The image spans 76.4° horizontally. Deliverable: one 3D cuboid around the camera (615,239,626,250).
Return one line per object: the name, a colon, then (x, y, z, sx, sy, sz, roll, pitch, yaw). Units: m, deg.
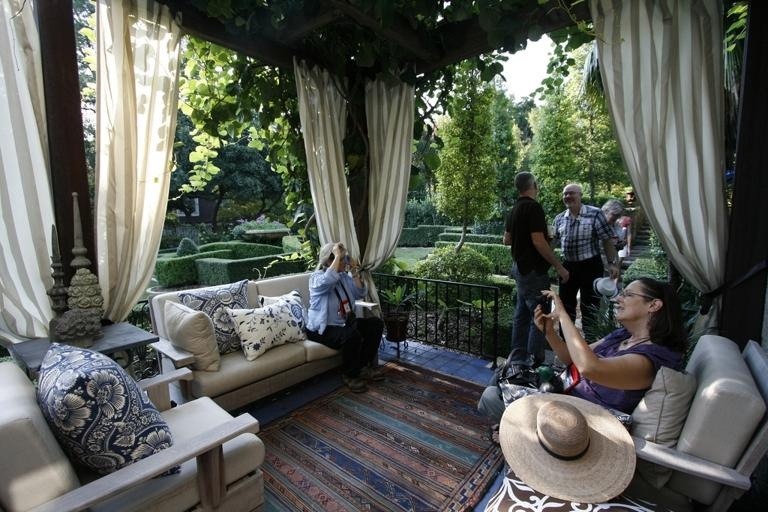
camera: (2.588, -0.136, 5.328, 0.141, 0.048, 0.107, -20, -11, -22)

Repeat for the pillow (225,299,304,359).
pillow: (-1.005, 0.610, 4.401, 0.260, 0.477, 0.699, 3, 12, 44)

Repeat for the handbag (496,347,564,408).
handbag: (0.993, 0.820, 3.416, 0.397, 0.413, 0.292, 4, 5, 5)

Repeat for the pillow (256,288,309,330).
pillow: (-0.910, 0.498, 4.517, 0.360, 0.354, 0.107, -4, -13, -42)

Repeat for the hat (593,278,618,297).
hat: (1.677, 0.247, 3.701, 0.162, 0.052, 0.166, -15, 43, -7)

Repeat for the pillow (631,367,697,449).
pillow: (1.733, 0.939, 3.000, 0.201, 0.405, 0.389, -4, 9, 44)

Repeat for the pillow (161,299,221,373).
pillow: (-1.620, 0.638, 4.047, 0.563, 0.488, 0.303, 6, 5, 43)

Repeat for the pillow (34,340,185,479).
pillow: (-1.588, 0.889, 2.827, 0.625, 0.811, 1.118, -5, 9, -40)

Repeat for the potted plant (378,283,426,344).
potted plant: (0.206, 0.638, 5.554, 0.576, 0.474, 0.589, 0, 8, 0)
